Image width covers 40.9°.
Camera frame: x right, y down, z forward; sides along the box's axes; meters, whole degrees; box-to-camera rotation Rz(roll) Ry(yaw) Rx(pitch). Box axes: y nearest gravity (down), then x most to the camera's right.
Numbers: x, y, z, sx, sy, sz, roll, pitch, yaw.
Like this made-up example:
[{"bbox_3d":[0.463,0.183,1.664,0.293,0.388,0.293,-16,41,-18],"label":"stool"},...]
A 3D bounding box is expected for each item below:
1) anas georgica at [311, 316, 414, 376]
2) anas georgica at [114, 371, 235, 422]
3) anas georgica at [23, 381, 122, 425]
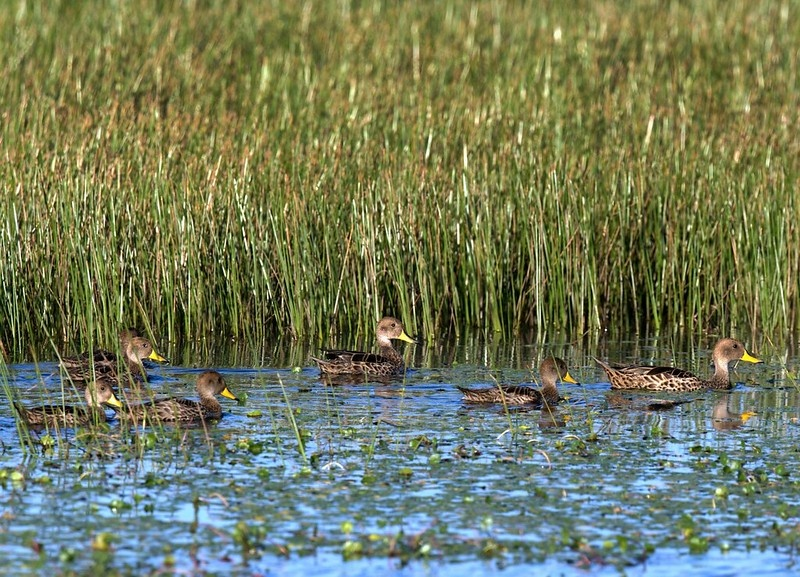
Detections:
[{"bbox_3d":[-0.493,0.904,16.092,1.342,1.091,0.802,0,5,-13],"label":"anas georgica"},{"bbox_3d":[-2.691,1.387,13.066,1.410,0.725,0.552,1,-16,-23],"label":"anas georgica"},{"bbox_3d":[-3.859,1.387,12.591,1.187,0.629,0.455,1,-14,-26],"label":"anas georgica"}]
